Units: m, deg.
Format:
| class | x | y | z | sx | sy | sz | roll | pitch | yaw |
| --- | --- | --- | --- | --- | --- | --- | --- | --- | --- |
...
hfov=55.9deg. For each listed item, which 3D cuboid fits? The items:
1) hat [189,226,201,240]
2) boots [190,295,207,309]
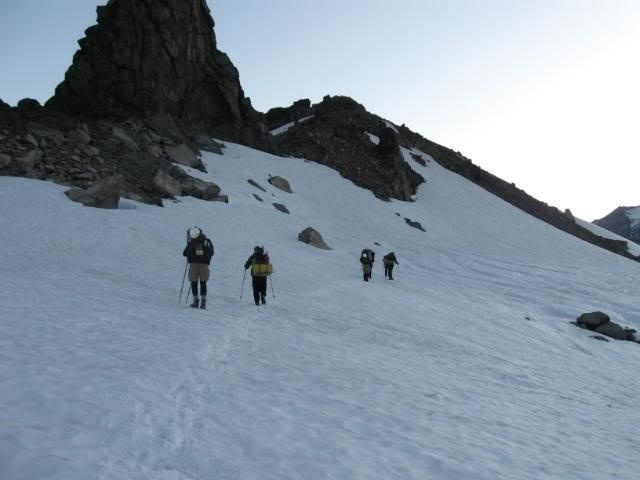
| class | x | y | z | sx | sy | sz | roll | pitch | yaw |
| --- | --- | --- | --- | --- | --- | --- | --- | --- | --- |
| hat | -4.455 | -0.253 | 21.646 | 0.437 | 0.450 | 0.339 | 0 | 14 | -17 |
| boots | -4.326 | 2.208 | 21.749 | 0.363 | 0.610 | 0.652 | 4 | 11 | -18 |
